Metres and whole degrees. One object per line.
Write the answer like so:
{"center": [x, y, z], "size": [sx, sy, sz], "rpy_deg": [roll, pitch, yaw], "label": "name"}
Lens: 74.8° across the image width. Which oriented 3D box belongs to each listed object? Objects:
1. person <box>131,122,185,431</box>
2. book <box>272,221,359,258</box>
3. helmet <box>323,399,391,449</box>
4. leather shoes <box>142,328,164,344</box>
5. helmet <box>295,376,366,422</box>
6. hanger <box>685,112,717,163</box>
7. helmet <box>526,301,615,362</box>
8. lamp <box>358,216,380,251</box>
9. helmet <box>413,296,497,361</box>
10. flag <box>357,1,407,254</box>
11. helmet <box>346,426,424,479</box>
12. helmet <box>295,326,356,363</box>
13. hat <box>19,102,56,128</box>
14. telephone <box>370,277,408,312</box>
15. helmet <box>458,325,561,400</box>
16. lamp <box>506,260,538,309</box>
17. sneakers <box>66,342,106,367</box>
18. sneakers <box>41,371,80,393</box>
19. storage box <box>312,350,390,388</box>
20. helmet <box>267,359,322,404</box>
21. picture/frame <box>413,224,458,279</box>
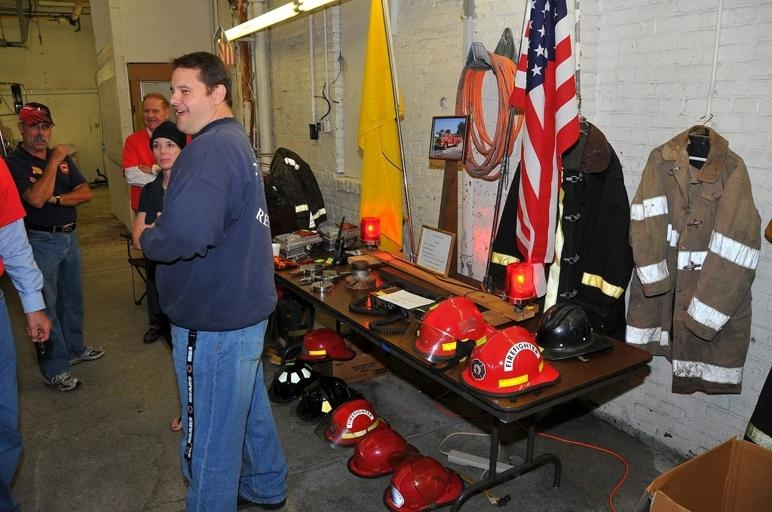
{"center": [-1.711, -0.170, 3.921], "size": [0.435, 1.667, 0.422], "rpy_deg": [0, 1, -18], "label": "person"}
{"center": [-0.658, -0.160, 4.725], "size": [0.634, 0.173, 0.376], "rpy_deg": [-14, 24, -36], "label": "book"}
{"center": [-0.253, 1.256, 3.921], "size": [0.500, 0.273, 0.377], "rpy_deg": [-15, 21, -16], "label": "helmet"}
{"center": [-2.542, 0.850, 5.496], "size": [0.142, 0.131, 0.323], "rpy_deg": [4, 1, 0], "label": "leather shoes"}
{"center": [-0.494, 1.152, 4.292], "size": [0.622, 0.242, 0.433], "rpy_deg": [-12, 17, -36], "label": "helmet"}
{"center": [2.073, -0.770, 3.321], "size": [0.121, 0.335, 0.119], "rpy_deg": [9, 21, 35], "label": "hanger"}
{"center": [1.127, 0.454, 3.175], "size": [0.582, 0.267, 0.411], "rpy_deg": [-11, 8, -29], "label": "helmet"}
{"center": [-0.141, -0.224, 4.550], "size": [0.185, 0.300, 0.188], "rpy_deg": [2, 26, -2], "label": "lamp"}
{"center": [0.443, 0.397, 3.170], "size": [0.536, 0.325, 0.403], "rpy_deg": [-8, 25, -10], "label": "helmet"}
{"center": [-0.066, -1.107, 4.422], "size": [0.407, 2.098, 0.207], "rpy_deg": [5, 19, 25], "label": "flag"}
{"center": [-0.041, 1.365, 3.668], "size": [0.549, 0.229, 0.400], "rpy_deg": [-12, 13, -27], "label": "helmet"}
{"center": [-0.551, 0.782, 4.550], "size": [0.544, 0.291, 0.422], "rpy_deg": [-8, 11, -26], "label": "helmet"}
{"center": [-3.010, -1.213, 4.320], "size": [0.300, 0.165, 0.218], "rpy_deg": [12, 15, 32], "label": "hat"}
{"center": [-0.001, 0.251, 3.929], "size": [0.284, 0.139, 0.352], "rpy_deg": [-9, 1, 8], "label": "telephone"}
{"center": [0.704, 0.543, 2.949], "size": [0.574, 0.299, 0.524], "rpy_deg": [-8, 15, -19], "label": "helmet"}
{"center": [0.925, 0.225, 3.442], "size": [0.199, 0.289, 0.196], "rpy_deg": [-8, 7, -30], "label": "lamp"}
{"center": [-3.020, 0.974, 5.037], "size": [0.301, 0.140, 0.113], "rpy_deg": [-19, 29, -41], "label": "sneakers"}
{"center": [-2.998, 1.138, 4.624], "size": [0.281, 0.143, 0.157], "rpy_deg": [2, 10, 9], "label": "sneakers"}
{"center": [-0.249, 1.020, 4.580], "size": [0.377, 0.202, 0.370], "rpy_deg": [-8, 16, -35], "label": "storage box"}
{"center": [-0.801, 1.076, 4.348], "size": [0.288, 0.178, 0.416], "rpy_deg": [17, 25, 39], "label": "helmet"}
{"center": [0.402, -0.028, 4.049], "size": [0.027, 0.374, 0.376], "rpy_deg": [2, 12, -38], "label": "picture/frame"}
